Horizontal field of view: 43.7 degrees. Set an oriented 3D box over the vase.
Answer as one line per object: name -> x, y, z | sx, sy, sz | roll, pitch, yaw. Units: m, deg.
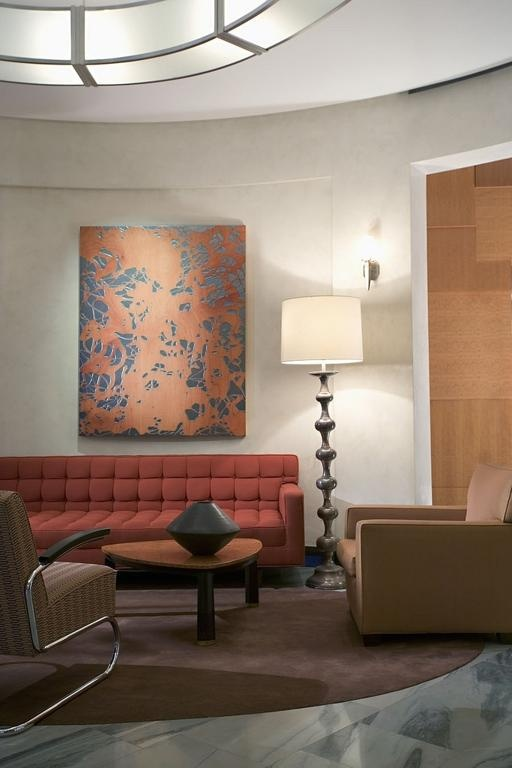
vase -> -0.232, 0.635, 2.785 | 0.234, 0.226, 0.223 | -4, -7, 38
